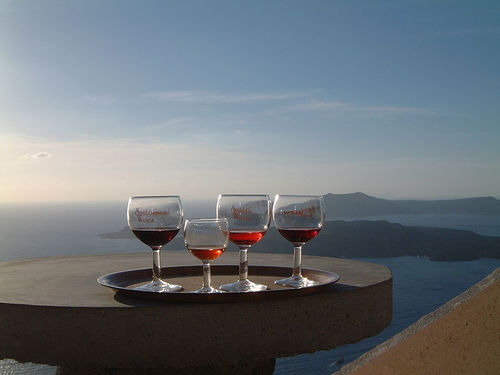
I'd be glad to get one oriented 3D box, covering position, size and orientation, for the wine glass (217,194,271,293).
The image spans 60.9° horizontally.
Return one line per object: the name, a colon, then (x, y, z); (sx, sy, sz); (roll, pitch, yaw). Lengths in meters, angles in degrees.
wine glass: (-0.019, 0.122, 0.975); (0.133, 0.204, 0.127); (0, -9, -17)
